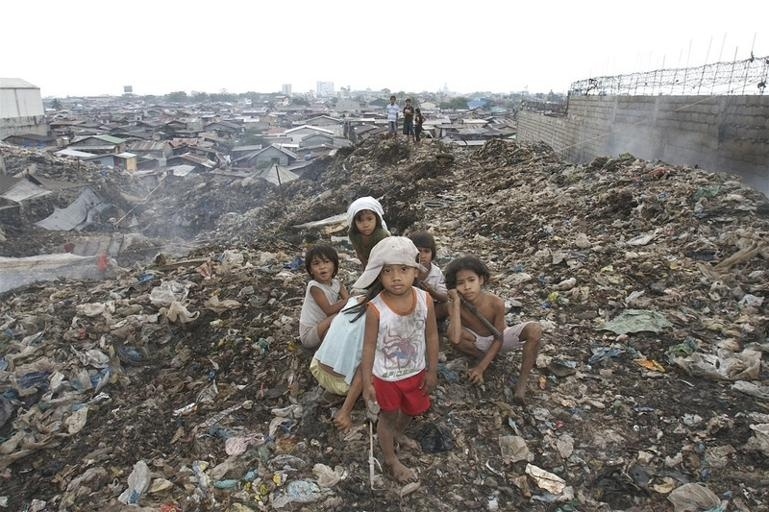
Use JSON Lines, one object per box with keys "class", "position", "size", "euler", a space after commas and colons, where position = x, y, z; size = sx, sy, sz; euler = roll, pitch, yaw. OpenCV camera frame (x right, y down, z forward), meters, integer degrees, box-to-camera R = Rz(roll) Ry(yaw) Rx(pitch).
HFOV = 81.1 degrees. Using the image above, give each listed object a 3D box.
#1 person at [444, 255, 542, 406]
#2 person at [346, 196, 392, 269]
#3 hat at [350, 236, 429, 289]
{"class": "person", "position": [0.858, 0.508, 4.143], "size": [1.071, 1.434, 1.116], "euler": [0, 13, 4]}
{"class": "person", "position": [-0.155, -0.139, 4.625], "size": [0.454, 0.960, 0.377], "euler": [3, 26, 10]}
{"class": "hat", "position": [0.022, -0.009, 3.359], "size": [0.497, 0.259, 0.316], "euler": [-22, 11, -3]}
